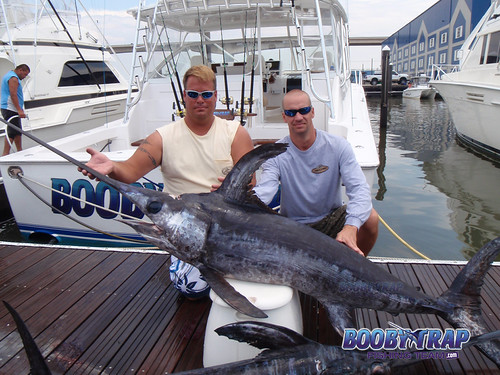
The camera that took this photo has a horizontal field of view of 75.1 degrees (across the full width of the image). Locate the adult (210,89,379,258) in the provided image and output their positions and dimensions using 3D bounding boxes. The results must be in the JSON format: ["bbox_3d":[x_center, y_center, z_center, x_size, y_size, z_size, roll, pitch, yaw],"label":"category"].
[{"bbox_3d":[0.357,-0.017,2.428,1.083,1.258,0.903,-9,11,-11],"label":"adult"}]

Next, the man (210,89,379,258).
[{"bbox_3d":[0.323,-0.062,2.451,1.104,1.259,0.942,-4,-4,1],"label":"man"}]

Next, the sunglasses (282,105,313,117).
[{"bbox_3d":[0.360,-0.578,2.481,0.201,0.068,0.092,-2,21,6],"label":"sunglasses"}]

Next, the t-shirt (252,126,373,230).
[{"bbox_3d":[0.479,-0.094,2.664,1.202,0.733,0.721,-6,17,6],"label":"t-shirt"}]

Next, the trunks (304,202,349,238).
[{"bbox_3d":[0.628,0.257,2.729,0.276,0.265,0.090,31,8,-27],"label":"trunks"}]

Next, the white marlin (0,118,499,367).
[{"bbox_3d":[-0.156,0.405,2.605,3.679,1.188,1.057,19,-8,2],"label":"white marlin"}]
